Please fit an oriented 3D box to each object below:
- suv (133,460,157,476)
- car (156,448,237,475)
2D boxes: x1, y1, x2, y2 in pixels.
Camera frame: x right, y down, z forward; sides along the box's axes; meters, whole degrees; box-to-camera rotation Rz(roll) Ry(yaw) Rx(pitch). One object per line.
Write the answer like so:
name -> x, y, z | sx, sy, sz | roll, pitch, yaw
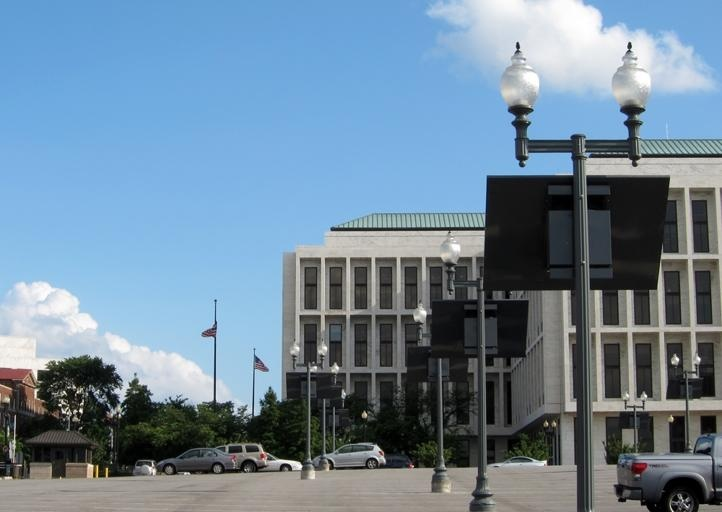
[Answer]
suv -> -17.945, 17.655, 139.209 | 1.695, 1.425, 6.417 | 1, -10, -9
car -> -11.747, 15.023, 121.779 | 5.355, 1.844, 1.482 | 0, -10, -5
